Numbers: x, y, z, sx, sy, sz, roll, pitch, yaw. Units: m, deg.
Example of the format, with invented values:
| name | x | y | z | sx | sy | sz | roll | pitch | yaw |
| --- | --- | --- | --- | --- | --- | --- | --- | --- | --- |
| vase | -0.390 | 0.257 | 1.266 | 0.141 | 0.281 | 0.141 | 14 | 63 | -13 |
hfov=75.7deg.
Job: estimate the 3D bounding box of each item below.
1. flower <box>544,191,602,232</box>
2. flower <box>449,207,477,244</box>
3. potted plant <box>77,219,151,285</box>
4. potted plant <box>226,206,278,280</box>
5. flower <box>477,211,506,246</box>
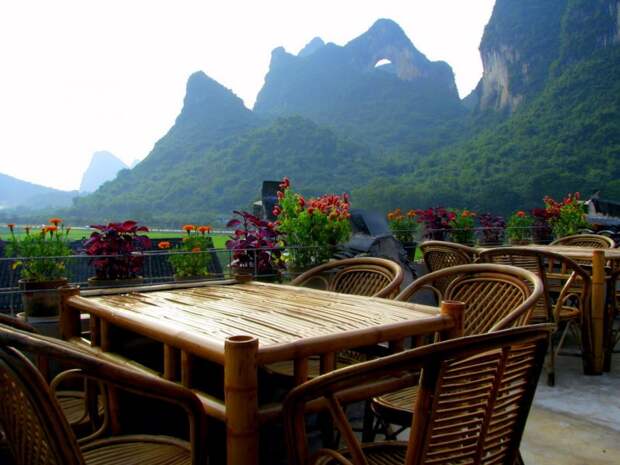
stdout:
| name | x | y | z | sx | sy | sz | roll | pitch | yaw |
| --- | --- | --- | --- | --- | --- | --- | --- | --- | --- |
| flower | 5.604 | -0.338 | 8.480 | 0.714 | 0.752 | 0.732 | -8 | 0 | 20 |
| flower | 2.950 | -0.198 | 7.859 | 0.474 | 0.561 | 0.548 | -2 | -8 | 20 |
| potted plant | -1.397 | 0.144 | 2.939 | 0.527 | 0.439 | 0.486 | 0 | -6 | -11 |
| potted plant | -0.469 | 0.045 | 3.388 | 0.433 | 0.470 | 0.358 | 3 | 19 | -1 |
| flower | 3.500 | -0.060 | 7.672 | 0.659 | 0.787 | 0.783 | -1 | 4 | 25 |
